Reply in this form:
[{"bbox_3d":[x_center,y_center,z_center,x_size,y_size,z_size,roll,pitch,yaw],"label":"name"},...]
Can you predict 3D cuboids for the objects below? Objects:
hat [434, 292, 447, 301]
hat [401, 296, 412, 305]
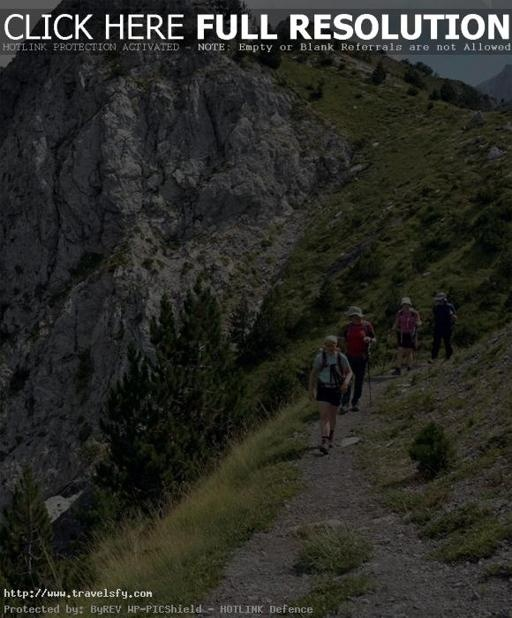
[{"bbox_3d":[10.205,-0.654,67.784,0.404,0.295,0.496,8,13,37],"label":"hat"},{"bbox_3d":[8.213,-0.402,67.893,0.389,0.335,0.559,-1,-3,-11],"label":"hat"}]
